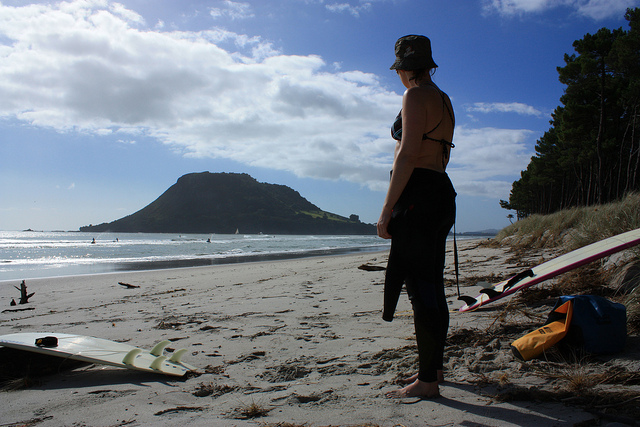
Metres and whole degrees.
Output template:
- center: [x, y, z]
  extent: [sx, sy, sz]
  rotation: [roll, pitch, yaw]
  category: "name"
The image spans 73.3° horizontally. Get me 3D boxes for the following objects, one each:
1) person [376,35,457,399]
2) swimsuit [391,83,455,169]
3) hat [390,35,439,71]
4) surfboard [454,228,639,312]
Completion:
- center: [0.940, -0.010, 4.144]
  extent: [0.868, 3.437, 0.449]
  rotation: [-3, 0, -4]
  category: "person"
- center: [1.018, -0.900, 4.314]
  extent: [0.641, 0.630, 0.506]
  rotation: [5, 11, 10]
  category: "swimsuit"
- center: [0.977, -1.661, 4.360]
  extent: [0.627, 0.300, 0.526]
  rotation: [-12, 26, -3]
  category: "hat"
- center: [3.449, 0.863, 6.539]
  extent: [2.455, 0.222, 0.532]
  rotation: [-22, 4, 19]
  category: "surfboard"
